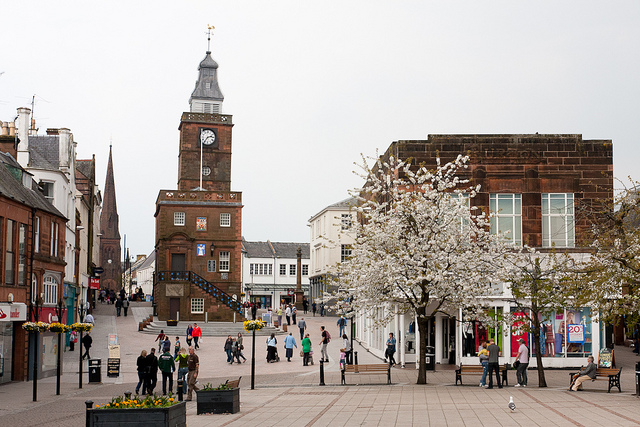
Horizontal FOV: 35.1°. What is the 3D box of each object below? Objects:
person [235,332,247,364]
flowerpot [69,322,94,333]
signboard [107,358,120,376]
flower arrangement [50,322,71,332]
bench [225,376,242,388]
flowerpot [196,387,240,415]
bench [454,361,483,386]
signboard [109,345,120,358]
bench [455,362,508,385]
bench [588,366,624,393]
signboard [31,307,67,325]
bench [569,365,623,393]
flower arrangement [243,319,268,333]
[{"bbox_3d":[-4.849,8.317,62.361,0.540,1.962,1.525,-1,-12,-4],"label":"person"},{"bbox_3d":[-12.499,5.981,53.120,0.781,0.272,0.794,0,-3,39],"label":"flowerpot"},{"bbox_3d":[-11.536,8.578,56.421,0.656,0.975,0.387,0,-12,-4],"label":"signboard"},{"bbox_3d":[-13.450,5.890,52.001,0.650,0.260,0.539,1,-3,16],"label":"flower arrangement"},{"bbox_3d":[-3.971,7.880,46.709,0.860,0.786,0.614,1,-8,-6],"label":"bench"},{"bbox_3d":[-4.627,8.508,45.873,1.424,0.798,1.367,-1,-7,-7],"label":"flowerpot"},{"bbox_3d":[7.714,8.295,51.773,1.421,1.059,1.308,-2,-12,6],"label":"bench"},{"bbox_3d":[-11.488,7.713,56.501,0.554,0.712,0.730,2,-12,-15],"label":"signboard"},{"bbox_3d":[8.470,8.389,52.320,2.595,1.023,2.868,-3,-11,8],"label":"bench"},{"bbox_3d":[14.200,8.288,50.621,0.917,1.119,2.492,1,-7,-16],"label":"bench"},{"bbox_3d":[-15.278,5.736,56.622,1.887,0.409,1.642,2,0,-6],"label":"signboard"},{"bbox_3d":[13.869,8.269,50.432,1.044,1.131,2.503,3,-7,-32],"label":"bench"},{"bbox_3d":[-3.336,5.786,52.499,0.961,0.565,1.715,-1,-11,-1],"label":"flower arrangement"}]
